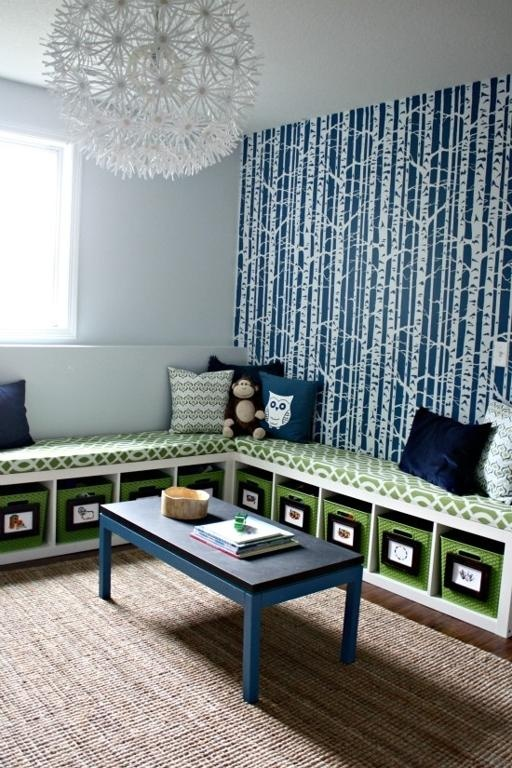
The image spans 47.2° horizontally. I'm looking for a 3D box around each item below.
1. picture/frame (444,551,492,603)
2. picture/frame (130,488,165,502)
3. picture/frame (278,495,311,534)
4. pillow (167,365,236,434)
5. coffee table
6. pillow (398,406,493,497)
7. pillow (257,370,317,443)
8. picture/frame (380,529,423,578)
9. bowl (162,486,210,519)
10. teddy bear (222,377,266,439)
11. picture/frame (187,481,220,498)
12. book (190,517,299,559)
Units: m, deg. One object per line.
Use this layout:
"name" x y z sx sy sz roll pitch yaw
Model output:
"picture/frame" 0.883 0.789 2.425 0.031 0.203 0.242 -3 9 -33
"picture/frame" -0.608 0.589 3.175 0.096 0.032 0.139 -6 -7 40
"picture/frame" 0.207 0.673 3.046 0.041 0.236 0.280 -3 8 -32
"pillow" -0.361 0.115 3.727 0.419 0.400 0.148 3 -10 -14
"coffee table" -0.116 0.717 2.137 0.557 0.568 0.912 4 1 -41
"pillow" 0.897 0.320 2.808 0.177 0.334 0.506 33 -6 -20
"pillow" 0.189 0.158 3.643 0.415 0.401 0.150 11 6 33
"picture/frame" 0.670 0.769 2.685 0.027 0.209 0.248 -2 6 -37
"bowl" -0.289 0.460 2.286 0.114 0.064 0.145 2 0 -42
"teddy bear" -0.082 0.134 3.704 0.286 0.387 0.266 -3 13 -16
"picture/frame" -0.297 0.615 3.510 0.133 0.080 0.131 2 3 40
"book" -0.027 0.513 1.969 0.172 0.035 0.182 -3 5 -37
